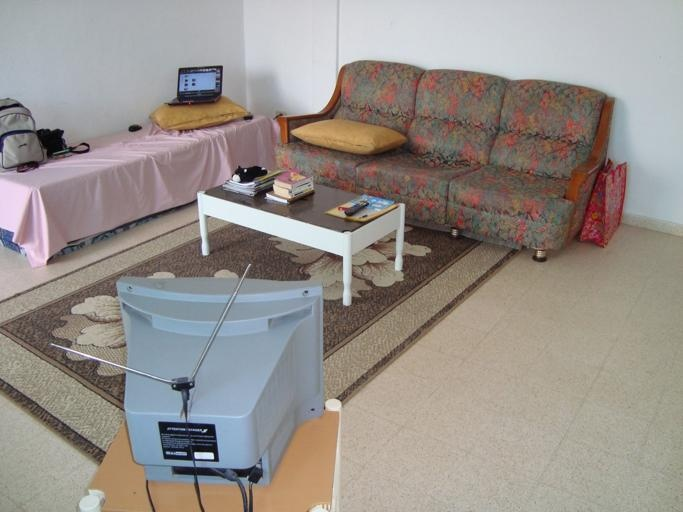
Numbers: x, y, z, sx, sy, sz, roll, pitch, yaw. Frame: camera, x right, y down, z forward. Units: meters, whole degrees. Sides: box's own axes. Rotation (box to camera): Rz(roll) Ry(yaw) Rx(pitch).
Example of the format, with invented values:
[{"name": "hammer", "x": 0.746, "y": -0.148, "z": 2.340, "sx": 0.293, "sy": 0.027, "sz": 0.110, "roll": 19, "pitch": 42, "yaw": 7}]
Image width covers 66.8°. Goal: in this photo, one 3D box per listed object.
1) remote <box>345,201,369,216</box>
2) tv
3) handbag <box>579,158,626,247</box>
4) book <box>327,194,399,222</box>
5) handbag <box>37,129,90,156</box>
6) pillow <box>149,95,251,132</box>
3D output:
[{"name": "remote", "x": 0.094, "y": -0.300, "z": 3.356, "sx": 0.057, "sy": 0.066, "sz": 0.257, "roll": 4, "pitch": 20, "yaw": 32}, {"name": "tv", "x": -0.335, "y": 0.421, "z": 1.595, "sx": 0.633, "sy": 0.542, "sz": 0.533, "roll": 3, "pitch": 30, "yaw": 3}, {"name": "handbag", "x": 1.947, "y": -0.390, "z": 3.879, "sx": 0.163, "sy": 0.494, "sz": 0.495, "roll": 24, "pitch": 42, "yaw": 35}, {"name": "book", "x": 0.129, "y": -0.297, "z": 3.329, "sx": 0.237, "sy": 0.032, "sz": 0.271, "roll": 17, "pitch": 35, "yaw": 33}, {"name": "handbag", "x": -2.298, "y": -0.909, "z": 4.229, "sx": 0.250, "sy": 0.127, "sz": 0.338, "roll": 14, "pitch": 26, "yaw": 14}, {"name": "pillow", "x": -1.321, "y": -1.310, "z": 4.849, "sx": 0.499, "sy": 0.158, "sz": 0.483, "roll": 17, "pitch": 35, "yaw": 28}]
